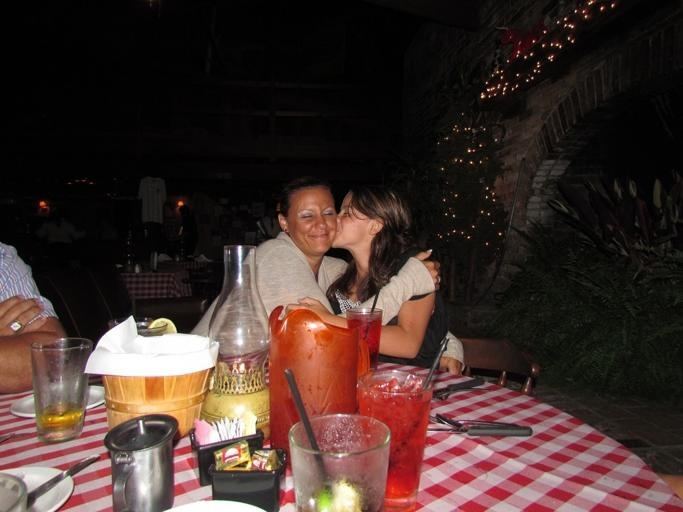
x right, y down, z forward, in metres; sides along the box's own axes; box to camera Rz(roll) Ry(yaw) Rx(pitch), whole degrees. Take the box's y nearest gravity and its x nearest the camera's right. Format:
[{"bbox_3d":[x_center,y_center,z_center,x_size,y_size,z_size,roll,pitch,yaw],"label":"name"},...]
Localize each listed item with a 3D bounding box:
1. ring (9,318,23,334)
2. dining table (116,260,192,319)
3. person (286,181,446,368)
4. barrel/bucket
[{"bbox_3d":[-1.076,0.231,1.532,0.038,0.037,0.026,26,-13,-35],"label":"ring"},{"bbox_3d":[-1.804,0.310,4.519,0.630,0.320,1.766,-1,4,-19],"label":"dining table"},{"bbox_3d":[0.210,0.039,2.404,0.769,1.041,0.823,4,3,10],"label":"person"},{"bbox_3d":[-0.409,0.288,1.071,0.223,0.159,0.220,-1,10,0],"label":"barrel/bucket"}]
